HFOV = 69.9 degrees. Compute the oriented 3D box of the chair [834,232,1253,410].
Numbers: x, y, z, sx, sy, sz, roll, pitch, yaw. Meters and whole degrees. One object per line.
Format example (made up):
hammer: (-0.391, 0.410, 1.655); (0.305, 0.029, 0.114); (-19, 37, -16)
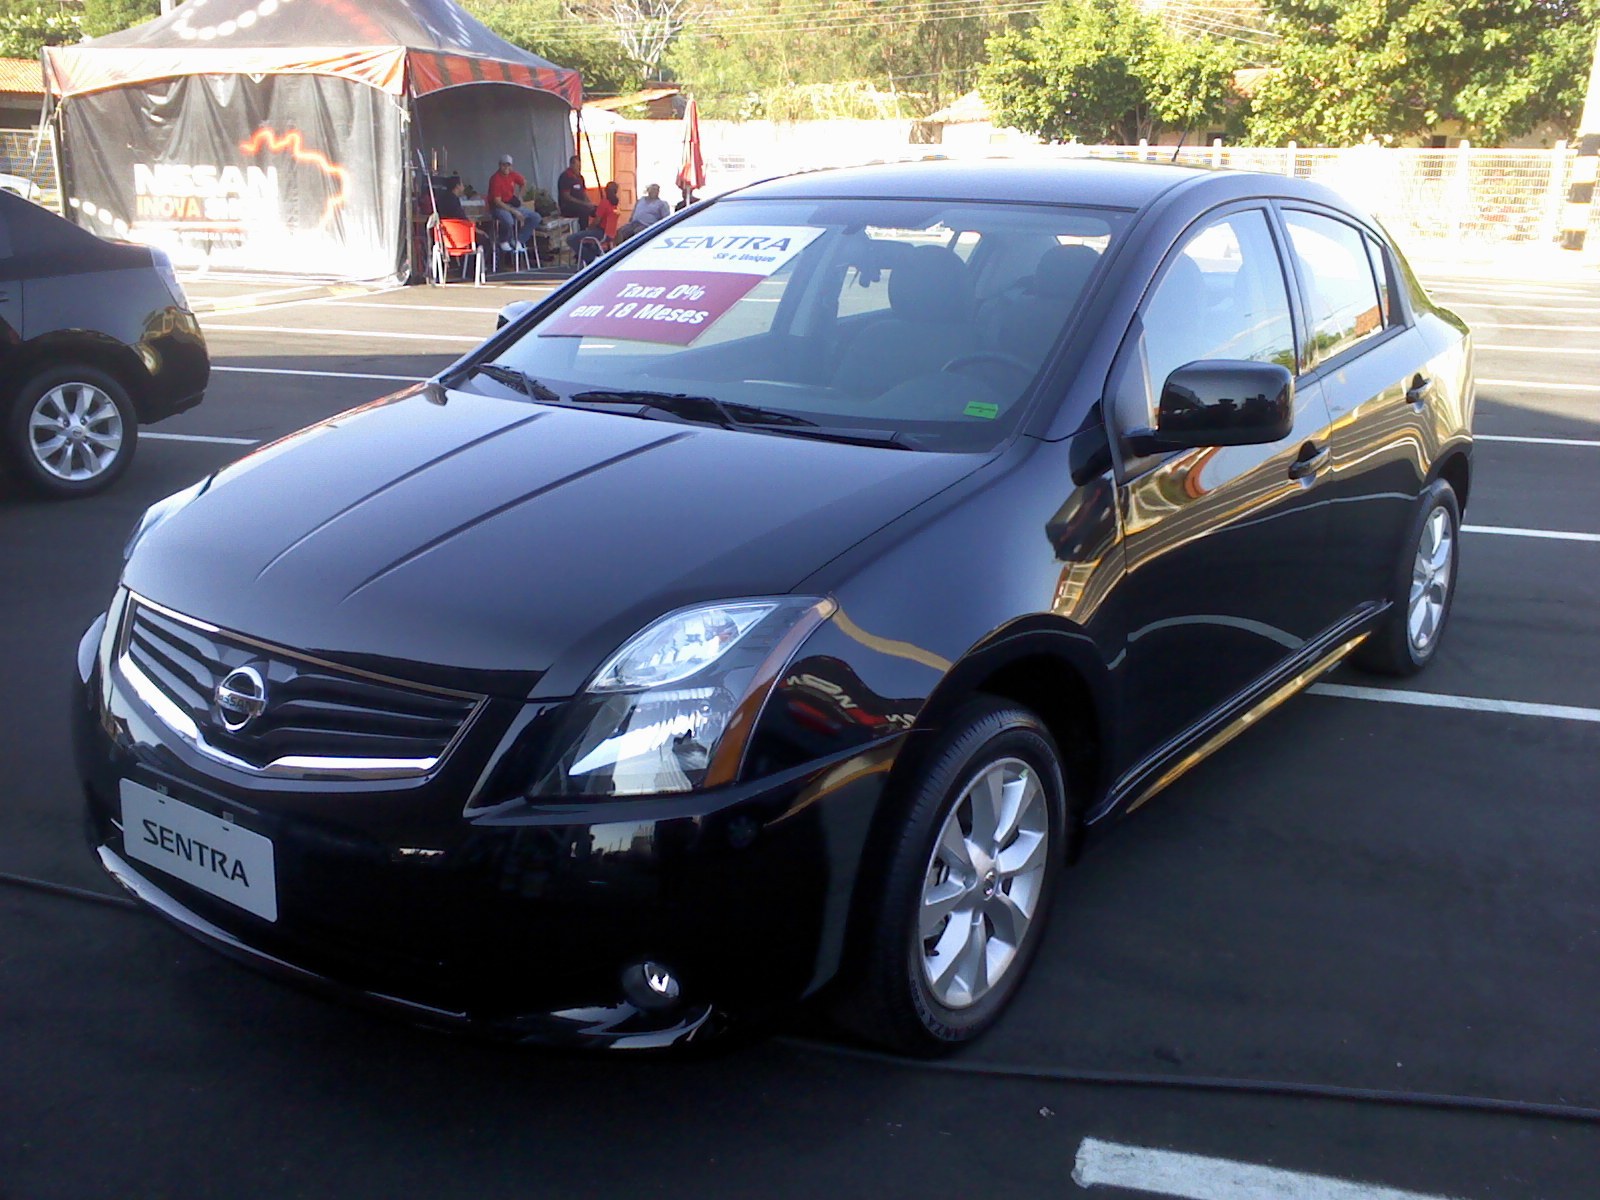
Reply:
chair: (0.637, -0.896, 3.361); (0.613, 0.463, 1.037); (24, 37, 37)
